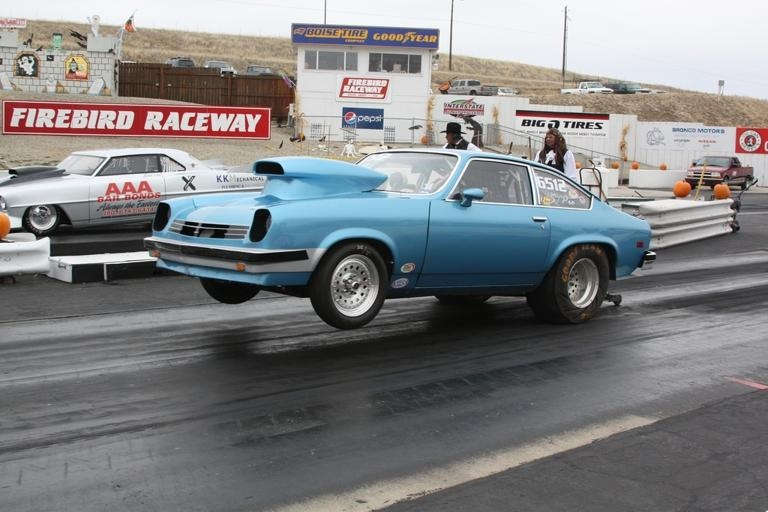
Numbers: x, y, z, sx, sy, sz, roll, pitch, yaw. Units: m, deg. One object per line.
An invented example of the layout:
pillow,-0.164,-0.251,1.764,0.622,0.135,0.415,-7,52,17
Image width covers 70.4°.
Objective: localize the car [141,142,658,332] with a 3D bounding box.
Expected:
car,0.400,-0.166,6.465,5.206,2.213,1.432,-4,14,-28
